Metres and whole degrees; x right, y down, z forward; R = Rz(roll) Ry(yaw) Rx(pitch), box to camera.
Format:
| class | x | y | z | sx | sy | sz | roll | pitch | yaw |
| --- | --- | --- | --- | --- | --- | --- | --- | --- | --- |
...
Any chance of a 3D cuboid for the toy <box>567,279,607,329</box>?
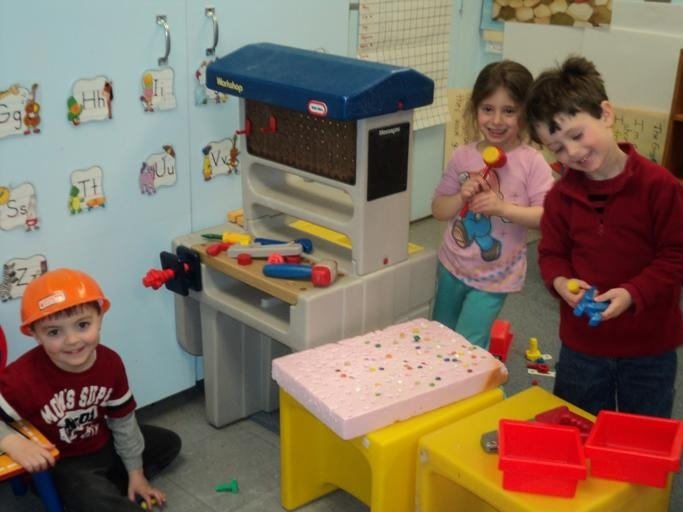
| class | x | y | z | sx | sy | sz | roll | pitch | yaw |
| --- | --- | --- | --- | --- | --- | --- | --- | --- | --- |
| toy | 0.540 | 0.099 | 1.356 | 0.087 | 0.091 | 0.032 | 27 | -8 | 22 |

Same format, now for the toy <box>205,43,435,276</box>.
| class | x | y | z | sx | sy | sz | roll | pitch | yaw |
| --- | --- | --- | --- | --- | --- | --- | --- | --- | --- |
| toy | -0.100 | -0.267 | 1.748 | 0.584 | 0.575 | 0.330 | 26 | 39 | 36 |

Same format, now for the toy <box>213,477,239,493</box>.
| class | x | y | z | sx | sy | sz | roll | pitch | yaw |
| --- | --- | --- | --- | --- | --- | --- | --- | --- | --- |
| toy | -0.344 | 0.699 | 1.837 | 0.053 | 0.026 | 0.034 | -3 | 44 | 0 |

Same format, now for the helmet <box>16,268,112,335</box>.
| class | x | y | z | sx | sy | sz | roll | pitch | yaw |
| --- | --- | --- | --- | --- | --- | --- | --- | --- | --- |
| helmet | -0.698 | 0.091 | 1.551 | 0.158 | 0.097 | 0.194 | -36 | -7 | 13 |

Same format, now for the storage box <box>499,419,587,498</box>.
| class | x | y | z | sx | sy | sz | roll | pitch | yaw |
| --- | --- | --- | --- | --- | --- | --- | --- | --- | --- |
| storage box | 0.414 | 0.424 | 1.262 | 0.147 | 0.073 | 0.139 | 4 | 29 | 6 |

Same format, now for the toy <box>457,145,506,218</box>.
| class | x | y | z | sx | sy | sz | roll | pitch | yaw |
| --- | --- | --- | --- | --- | --- | --- | --- | --- | --- |
| toy | 0.413 | -0.210 | 1.801 | 0.079 | 0.223 | 0.055 | 33 | 17 | 30 |
